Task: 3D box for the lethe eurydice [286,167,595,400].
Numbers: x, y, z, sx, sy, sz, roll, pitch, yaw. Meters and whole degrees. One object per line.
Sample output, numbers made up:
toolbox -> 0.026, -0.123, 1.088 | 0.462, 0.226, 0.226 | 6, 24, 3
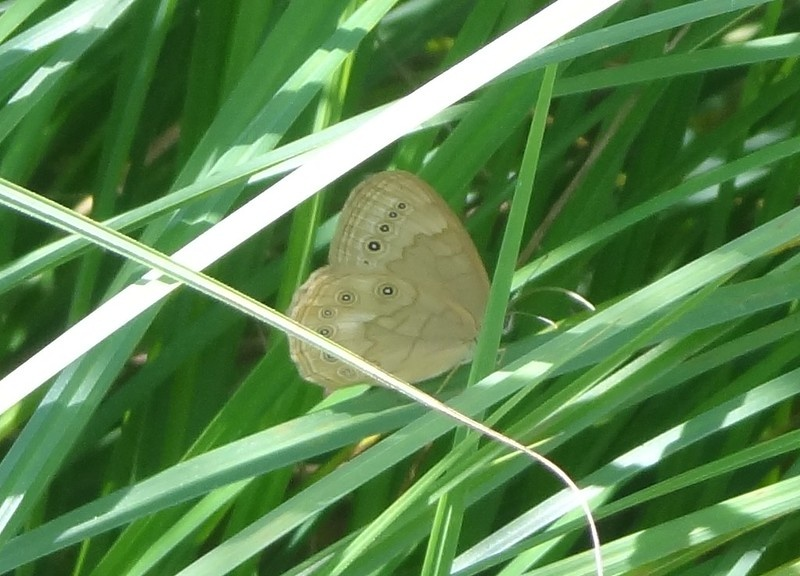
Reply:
lethe eurydice -> 0.045, -0.074, 1.929 | 0.522, 0.478, 0.223 | 21, 21, -28
